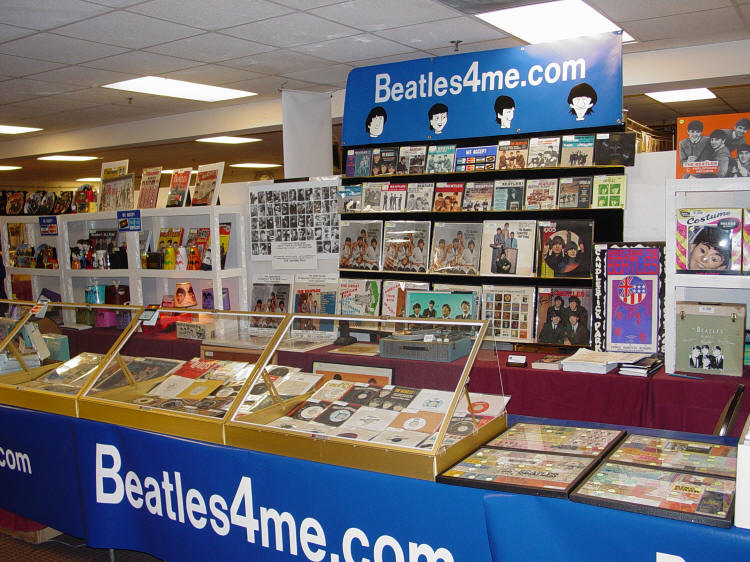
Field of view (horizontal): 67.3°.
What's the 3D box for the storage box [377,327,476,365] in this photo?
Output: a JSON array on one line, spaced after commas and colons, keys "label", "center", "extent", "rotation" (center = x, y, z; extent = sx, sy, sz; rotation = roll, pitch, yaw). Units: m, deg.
[{"label": "storage box", "center": [0.242, 0.312, 2.764], "extent": [0.462, 0.149, 0.259], "rotation": [-1, 8, 1]}]
